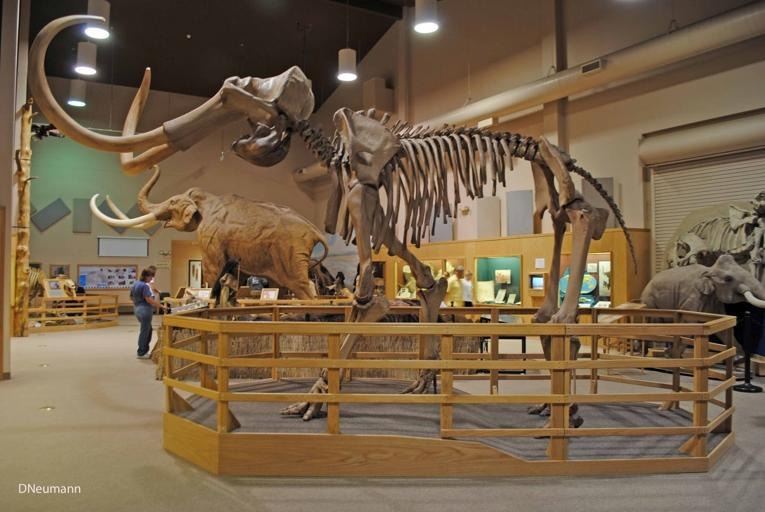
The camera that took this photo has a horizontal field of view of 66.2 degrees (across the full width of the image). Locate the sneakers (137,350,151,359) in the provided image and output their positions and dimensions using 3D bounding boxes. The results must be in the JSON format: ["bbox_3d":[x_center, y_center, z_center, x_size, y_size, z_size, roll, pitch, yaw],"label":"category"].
[{"bbox_3d":[-3.916,1.618,9.620,0.185,0.114,0.329,-6,11,-27],"label":"sneakers"}]

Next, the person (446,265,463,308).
[{"bbox_3d":[1.367,0.632,10.982,0.292,0.848,1.174,0,10,8],"label":"person"}]

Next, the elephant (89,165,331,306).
[{"bbox_3d":[-3.192,-0.080,10.942,4.285,2.602,1.142,5,11,1],"label":"elephant"}]
